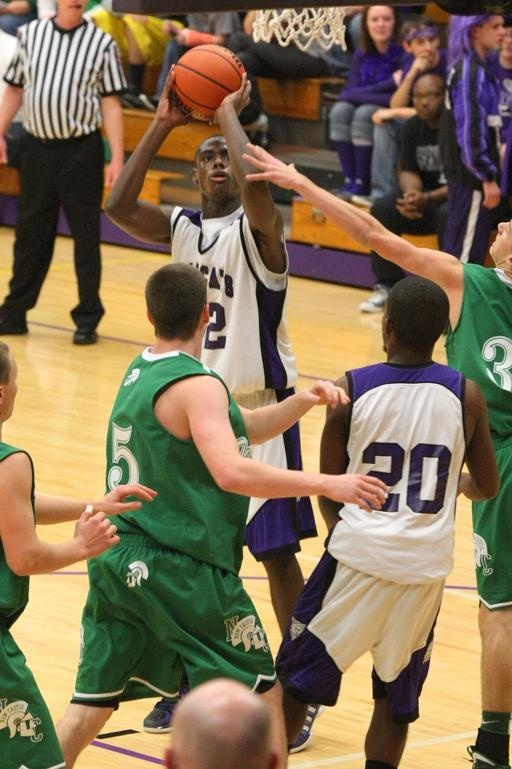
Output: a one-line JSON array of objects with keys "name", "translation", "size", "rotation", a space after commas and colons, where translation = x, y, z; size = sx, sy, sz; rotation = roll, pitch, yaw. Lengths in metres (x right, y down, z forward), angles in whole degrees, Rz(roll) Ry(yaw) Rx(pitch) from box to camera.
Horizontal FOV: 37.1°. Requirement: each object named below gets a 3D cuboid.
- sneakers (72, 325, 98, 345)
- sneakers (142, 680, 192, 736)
[{"name": "sneakers", "translation": [-1.425, -0.413, 6.385], "size": [0.197, 0.187, 0.117], "rotation": [-2, -1, -1]}, {"name": "sneakers", "translation": [-0.296, 1.063, 2.495], "size": [0.055, 0.109, 0.166], "rotation": [-14, -13, 38]}]
